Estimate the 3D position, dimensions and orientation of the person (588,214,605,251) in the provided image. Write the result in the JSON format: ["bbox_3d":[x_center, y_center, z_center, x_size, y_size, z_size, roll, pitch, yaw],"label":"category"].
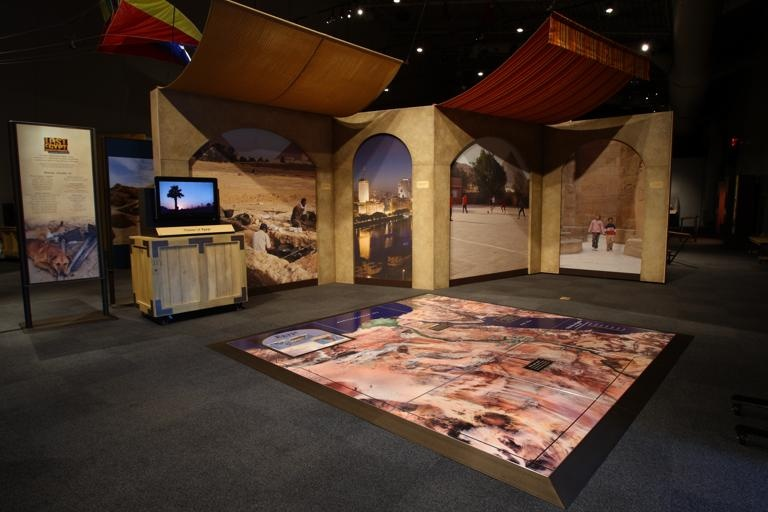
[{"bbox_3d":[5.332,-0.573,10.813,0.325,0.794,0.383,6,16,23],"label":"person"}]

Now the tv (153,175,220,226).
[{"bbox_3d":[-3.542,-0.966,7.638,0.968,0.675,0.105,-3,3,-38],"label":"tv"}]

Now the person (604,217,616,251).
[{"bbox_3d":[5.617,-0.529,10.690,0.243,0.775,0.414,7,16,26],"label":"person"}]
